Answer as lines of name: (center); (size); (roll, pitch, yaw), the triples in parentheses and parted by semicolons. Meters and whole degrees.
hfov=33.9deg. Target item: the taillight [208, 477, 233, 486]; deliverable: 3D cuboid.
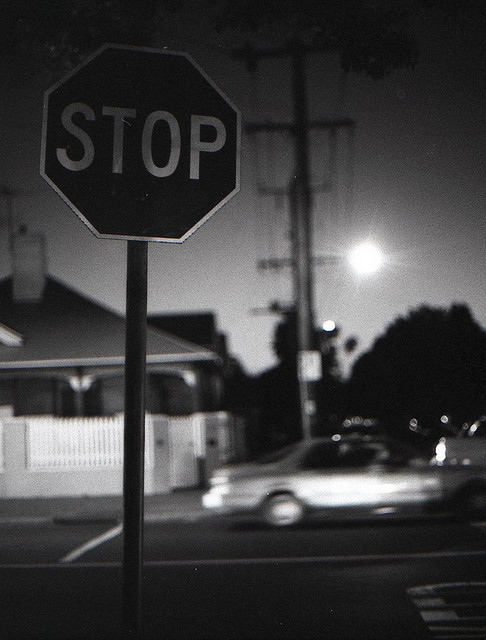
taillight: (-0.080, 0.550, 2.679); (0.077, 0.028, 0.007); (-3, -6, 4)

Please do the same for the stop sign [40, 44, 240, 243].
stop sign: (-0.277, -0.486, 2.173); (0.542, 0.557, 0.108); (-1, -6, -14)

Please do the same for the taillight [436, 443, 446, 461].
taillight: (0.671, 0.456, 2.707); (0.034, 0.059, 0.020); (-4, -6, 13)
